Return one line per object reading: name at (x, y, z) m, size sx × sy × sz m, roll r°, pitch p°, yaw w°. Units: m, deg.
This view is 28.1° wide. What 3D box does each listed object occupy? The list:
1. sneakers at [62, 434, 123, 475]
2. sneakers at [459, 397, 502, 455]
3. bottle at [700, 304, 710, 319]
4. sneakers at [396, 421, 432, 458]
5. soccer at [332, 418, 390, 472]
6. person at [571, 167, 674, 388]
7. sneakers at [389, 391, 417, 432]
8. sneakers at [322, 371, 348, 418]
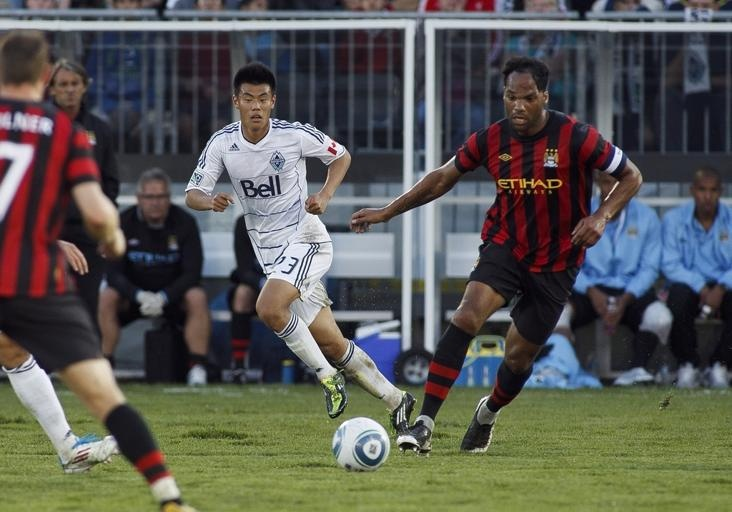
sneakers at (-1.777, 1.287, 9.443) m, size 0.367 × 0.259 × 0.193 m, roll -25°, pitch 3°, yaw 6°
sneakers at (0.801, 1.225, 10.099) m, size 0.158 × 0.450 × 0.177 m, roll 18°, pitch 14°, yaw -13°
bottle at (2.874, 0.469, 12.363) m, size 0.072 × 0.117 × 0.066 m, roll 18°, pitch -10°, yaw 3°
sneakers at (0.329, 1.232, 9.899) m, size 0.220 × 0.247 × 0.282 m, roll 3°, pitch 5°, yaw 6°
soccer at (-0.030, 1.223, 9.683) m, size 0.353 × 0.391 × 0.379 m, roll -7°, pitch 18°, yaw -21°
person at (2.130, 0.225, 12.880) m, size 1.152 × 1.746 × 1.031 m, roll -8°, pitch 6°, yaw -16°
sneakers at (0.266, 1.094, 10.185) m, size 0.161 × 0.334 × 0.116 m, roll 13°, pitch -6°, yaw -21°
sneakers at (-0.230, 0.964, 10.322) m, size 0.170 × 0.379 × 0.130 m, roll 20°, pitch -36°, yaw -35°
